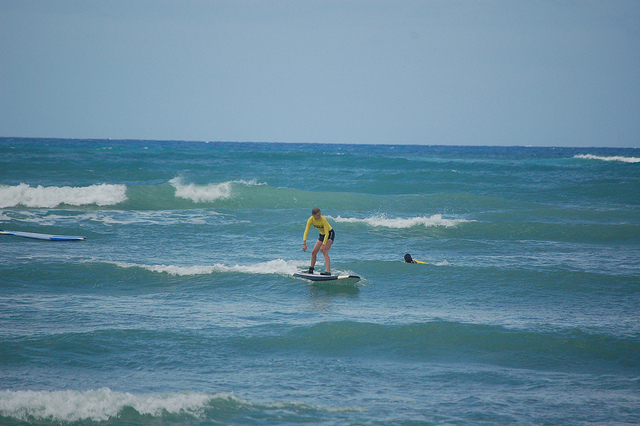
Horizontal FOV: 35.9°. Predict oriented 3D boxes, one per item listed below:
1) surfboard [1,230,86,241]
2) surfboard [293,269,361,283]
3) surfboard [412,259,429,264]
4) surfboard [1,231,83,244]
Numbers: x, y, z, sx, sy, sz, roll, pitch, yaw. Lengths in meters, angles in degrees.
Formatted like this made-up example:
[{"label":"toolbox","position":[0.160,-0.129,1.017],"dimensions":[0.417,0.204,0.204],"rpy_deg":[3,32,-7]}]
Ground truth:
[{"label":"surfboard","position":[-10.798,0.904,38.349],"dimensions":[2.675,0.220,0.333],"rpy_deg":[2,9,7]},{"label":"surfboard","position":[0.247,2.255,34.555],"dimensions":[2.474,0.229,0.664],"rpy_deg":[-1,1,32]},{"label":"surfboard","position":[3.664,1.805,36.395],"dimensions":[0.467,0.090,0.123],"rpy_deg":[18,-4,39]},{"label":"surfboard","position":[-10.736,0.959,38.084],"dimensions":[3.068,0.386,0.944],"rpy_deg":[1,-3,12]}]
